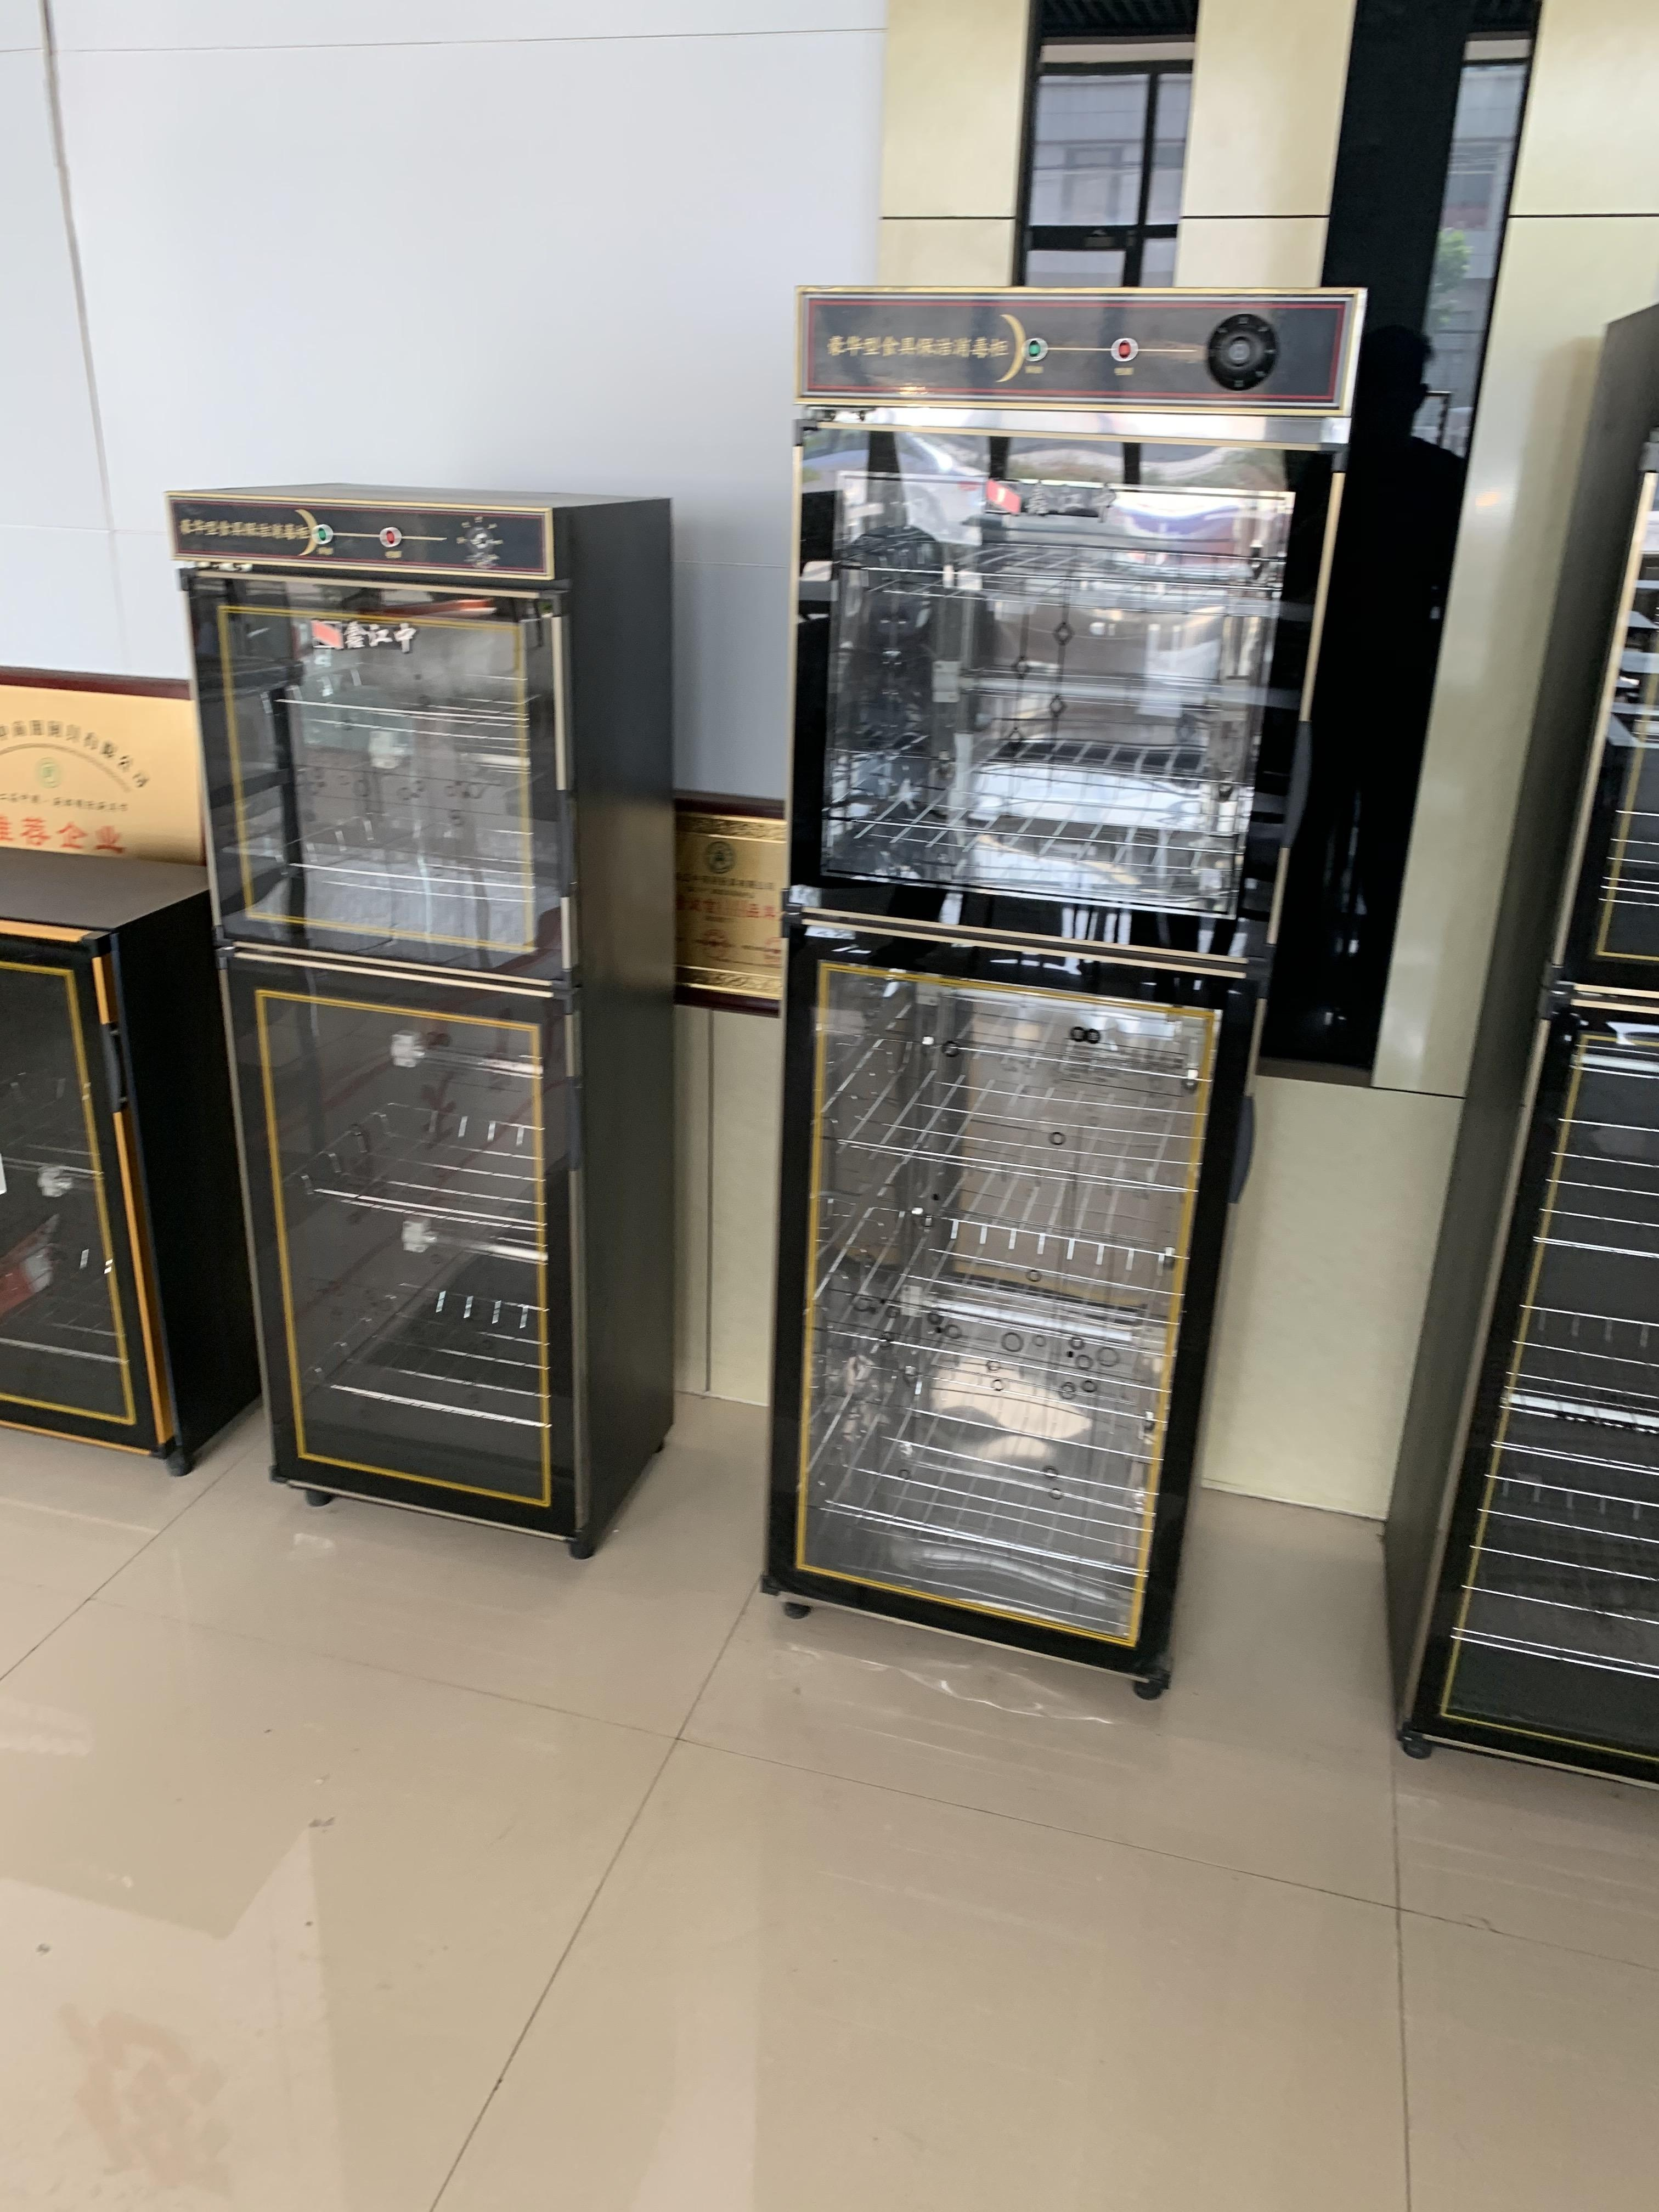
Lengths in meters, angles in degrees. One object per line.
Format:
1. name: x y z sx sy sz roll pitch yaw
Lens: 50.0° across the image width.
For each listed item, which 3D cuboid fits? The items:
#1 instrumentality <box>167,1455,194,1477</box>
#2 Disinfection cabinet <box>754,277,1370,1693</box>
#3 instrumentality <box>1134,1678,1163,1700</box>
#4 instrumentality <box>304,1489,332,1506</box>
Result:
1. instrumentality: -1.099 0.612 3.023 0.045 0.042 0.010 12 19 18
2. Disinfection cabinet: 0.244 -0.078 2.379 0.675 1.846 0.272 9 24 12
3. instrumentality: 0.462 0.846 2.579 0.036 0.046 0.012 -2 61 15
4. instrumentality: -0.845 0.647 2.967 0.047 0.043 0.009 11 34 -7
